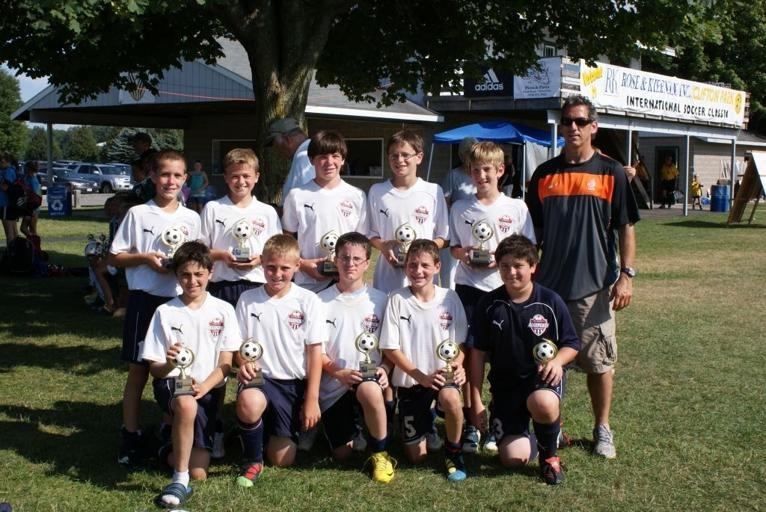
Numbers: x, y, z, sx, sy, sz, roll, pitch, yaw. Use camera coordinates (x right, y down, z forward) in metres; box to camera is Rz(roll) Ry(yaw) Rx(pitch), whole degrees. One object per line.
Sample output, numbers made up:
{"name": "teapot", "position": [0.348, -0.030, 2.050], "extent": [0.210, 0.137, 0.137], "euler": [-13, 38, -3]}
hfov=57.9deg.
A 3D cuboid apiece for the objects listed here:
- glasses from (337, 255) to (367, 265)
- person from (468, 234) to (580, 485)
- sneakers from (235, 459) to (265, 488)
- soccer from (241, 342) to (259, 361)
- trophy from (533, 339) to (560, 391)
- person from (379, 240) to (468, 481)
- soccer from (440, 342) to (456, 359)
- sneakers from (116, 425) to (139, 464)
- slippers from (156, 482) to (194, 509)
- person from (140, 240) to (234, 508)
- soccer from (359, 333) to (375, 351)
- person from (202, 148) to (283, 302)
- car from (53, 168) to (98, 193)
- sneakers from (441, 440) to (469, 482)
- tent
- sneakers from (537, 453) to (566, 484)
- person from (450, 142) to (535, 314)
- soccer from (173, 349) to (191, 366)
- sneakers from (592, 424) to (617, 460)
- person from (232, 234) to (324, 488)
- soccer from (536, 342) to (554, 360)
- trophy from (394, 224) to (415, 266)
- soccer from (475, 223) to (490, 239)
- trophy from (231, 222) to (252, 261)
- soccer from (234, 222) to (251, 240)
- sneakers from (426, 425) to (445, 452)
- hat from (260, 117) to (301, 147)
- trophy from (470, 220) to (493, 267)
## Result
{"name": "glasses", "position": [-0.289, 0.033, 6.173], "extent": [0.255, 0.085, 0.088], "euler": [-1, 13, -2]}
{"name": "person", "position": [1.185, 0.876, 6.000], "extent": [0.932, 1.981, 0.645], "euler": [3, 13, 17]}
{"name": "sneakers", "position": [-1.141, 1.844, 5.884], "extent": [0.162, 0.132, 0.315], "euler": [1, 13, 8]}
{"name": "soccer", "position": [-1.141, 0.823, 5.925], "extent": [0.124, 0.136, 0.161], "euler": [3, -16, -10]}
{"name": "trophy", "position": [1.392, 0.907, 5.986], "extent": [0.187, 0.349, 0.165], "euler": [-1, 14, 20]}
{"name": "person", "position": [0.443, 0.868, 6.145], "extent": [0.886, 1.953, 0.610], "euler": [9, 15, 36]}
{"name": "soccer", "position": [0.553, 0.816, 5.953], "extent": [0.110, 0.120, 0.146], "euler": [0, -14, -1]}
{"name": "sneakers", "position": [-2.262, 1.691, 6.155], "extent": [0.202, 0.277, 0.235], "euler": [-3, 13, -14]}
{"name": "slippers", "position": [-1.684, 1.939, 5.585], "extent": [0.284, 0.131, 0.212], "euler": [-5, 13, -18]}
{"name": "person", "position": [-1.704, 0.921, 5.891], "extent": [0.661, 1.962, 0.929], "euler": [6, 14, 28]}
{"name": "soccer", "position": [-0.149, 0.757, 6.024], "extent": [0.134, 0.140, 0.088], "euler": [19, -4, -6]}
{"name": "person", "position": [-1.404, -0.215, 6.551], "extent": [0.818, 1.615, 0.786], "euler": [4, 11, -2]}
{"name": "car", "position": [-17.506, -4.167, 38.691], "extent": [2.043, 1.303, 1.938], "euler": [3, 13, 15]}
{"name": "sneakers", "position": [0.635, 1.792, 6.047], "extent": [0.153, 0.205, 0.474], "euler": [-5, 11, 4]}
{"name": "tent", "position": [2.488, -2.996, 19.764], "extent": [2.564, 1.543, 2.803], "euler": [1, 10, 4]}
{"name": "sneakers", "position": [1.417, 1.830, 5.885], "extent": [0.165, 0.156, 0.360], "euler": [-1, -13, 9]}
{"name": "person", "position": [0.983, -0.031, 6.585], "extent": [0.923, 2.109, 0.736], "euler": [-2, 2, 21]}
{"name": "soccer", "position": [-1.663, 0.851, 5.739], "extent": [0.115, 0.128, 0.151], "euler": [1, 6, -1]}
{"name": "sneakers", "position": [1.986, 1.695, 6.238], "extent": [0.126, 0.163, 0.354], "euler": [-2, -1, 10]}
{"name": "person", "position": [-0.912, 0.870, 6.018], "extent": [0.852, 1.987, 0.709], "euler": [-5, 13, -21]}
{"name": "soccer", "position": [1.367, 0.820, 5.970], "extent": [0.141, 0.122, 0.142], "euler": [6, -21, -26]}
{"name": "trophy", "position": [0.197, -0.104, 6.622], "extent": [0.271, 0.393, 0.278], "euler": [2, 4, 2]}
{"name": "soccer", "position": [0.928, -0.236, 6.477], "extent": [0.114, 0.127, 0.153], "euler": [-1, 21, 3]}
{"name": "trophy", "position": [-1.329, -0.152, 6.467], "extent": [0.206, 0.398, 0.208], "euler": [3, 2, 14]}
{"name": "soccer", "position": [-1.303, -0.229, 6.394], "extent": [0.141, 0.152, 0.122], "euler": [3, -12, -25]}
{"name": "sneakers", "position": [0.476, 1.746, 6.497], "extent": [0.097, 0.208, 0.293], "euler": [-2, -32, 5]}
{"name": "hat", "position": [-1.134, -1.405, 7.716], "extent": [0.422, 0.233, 0.305], "euler": [-13, 8, 14]}
{"name": "trophy", "position": [0.919, -0.137, 6.555], "extent": [0.243, 0.400, 0.235], "euler": [5, 5, 8]}
